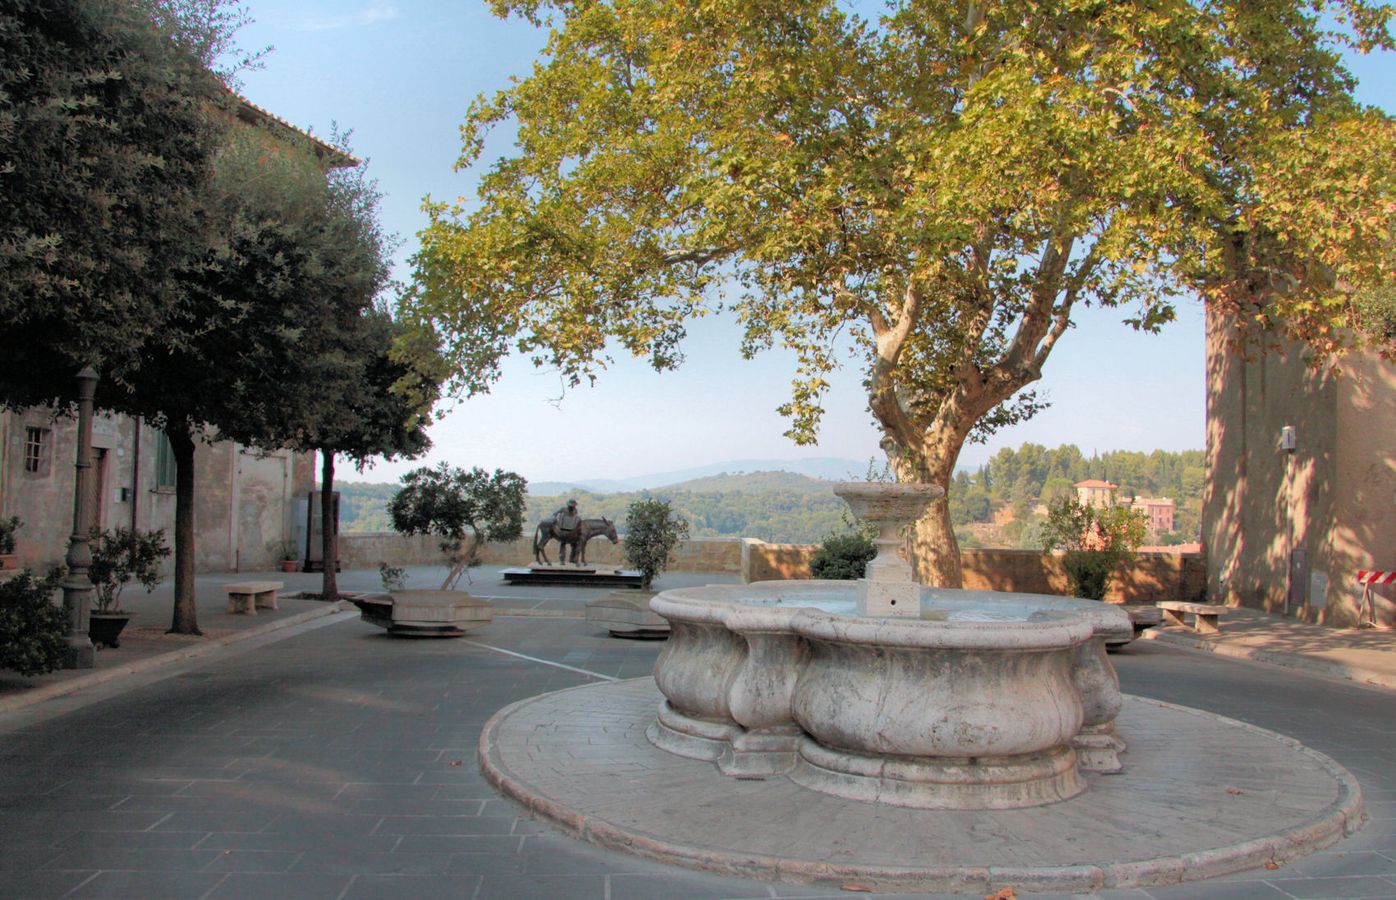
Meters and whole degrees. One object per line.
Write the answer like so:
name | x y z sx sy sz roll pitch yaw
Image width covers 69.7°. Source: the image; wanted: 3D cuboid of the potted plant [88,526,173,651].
potted plant | -9.078 2.215 16.027 1.557 1.919 1.388 2 -8 -2

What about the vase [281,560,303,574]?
vase | -11.524 3.251 28.604 0.398 0.264 0.398 1 -10 -4

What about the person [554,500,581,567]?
person | -3.433 2.123 27.131 0.773 1.775 0.618 -1 -25 1
